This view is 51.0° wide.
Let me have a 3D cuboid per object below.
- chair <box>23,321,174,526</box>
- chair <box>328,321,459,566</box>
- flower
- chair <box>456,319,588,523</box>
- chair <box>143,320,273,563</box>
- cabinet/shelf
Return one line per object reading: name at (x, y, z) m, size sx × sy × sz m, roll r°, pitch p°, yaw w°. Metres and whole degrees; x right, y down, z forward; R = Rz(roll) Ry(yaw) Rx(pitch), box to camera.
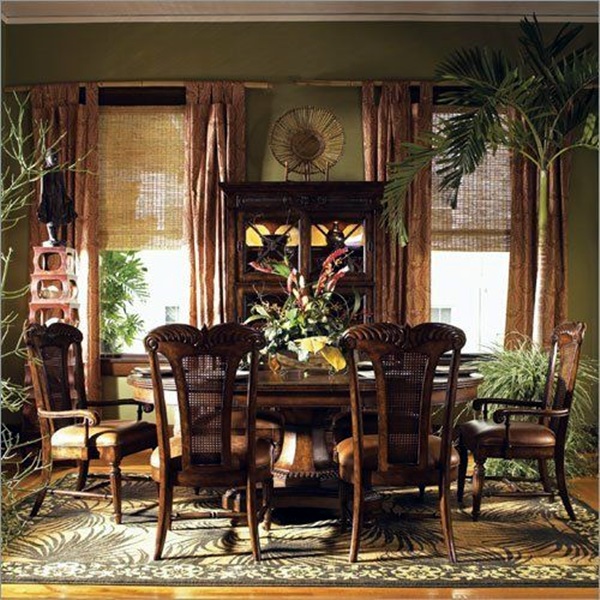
chair at (-1.075, 0.640, 3.418) m, size 0.685 × 0.946 × 0.662 m, roll 0°, pitch -2°, yaw 29°
chair at (0.432, 0.624, 2.736) m, size 0.520 × 1.052 × 0.251 m, roll 0°, pitch 2°, yaw 2°
flower at (0.034, 0.097, 3.438) m, size 0.584 × 0.678 × 0.568 m, roll -12°, pitch 8°, yaw 0°
chair at (1.142, 0.628, 3.419) m, size 0.726 × 0.925 × 0.677 m, roll 2°, pitch -2°, yaw -16°
chair at (-0.409, 0.626, 2.866) m, size 0.556 × 1.061 × 0.570 m, roll 0°, pitch 2°, yaw -5°
cabinet/shelf at (0.058, -0.254, 4.151) m, size 1.539 × 1.674 × 0.472 m, roll -1°, pitch -2°, yaw -2°
